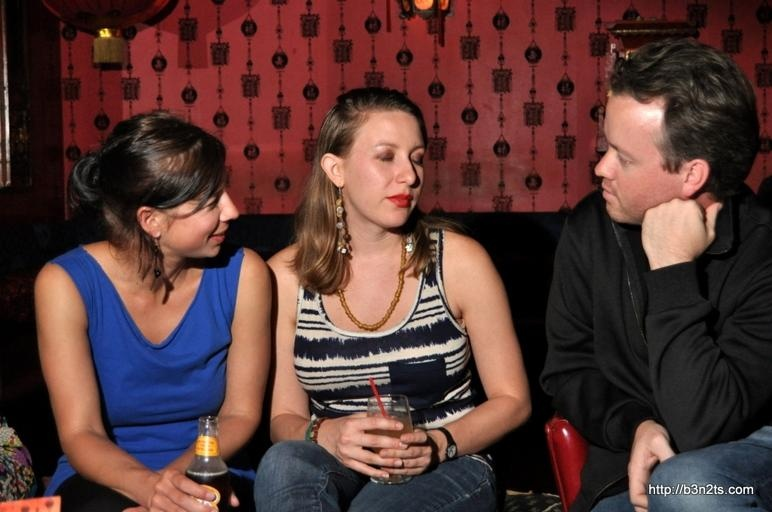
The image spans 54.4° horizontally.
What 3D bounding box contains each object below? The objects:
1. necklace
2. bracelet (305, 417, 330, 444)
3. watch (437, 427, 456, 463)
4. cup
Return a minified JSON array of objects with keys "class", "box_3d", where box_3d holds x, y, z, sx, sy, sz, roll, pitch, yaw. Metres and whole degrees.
[{"class":"necklace","box_3d":[-0.005,0.103,2.802,0.191,0.327,0.055,2,-23,12]},{"class":"bracelet","box_3d":[-0.261,0.627,2.710,0.020,0.075,0.075,6,21,17]},{"class":"watch","box_3d":[0.217,0.675,2.681,0.050,0.116,0.057,-9,12,-37]},{"class":"cup","box_3d":[-0.002,0.625,2.670,0.147,0.325,0.284,-4,9,-8]}]
